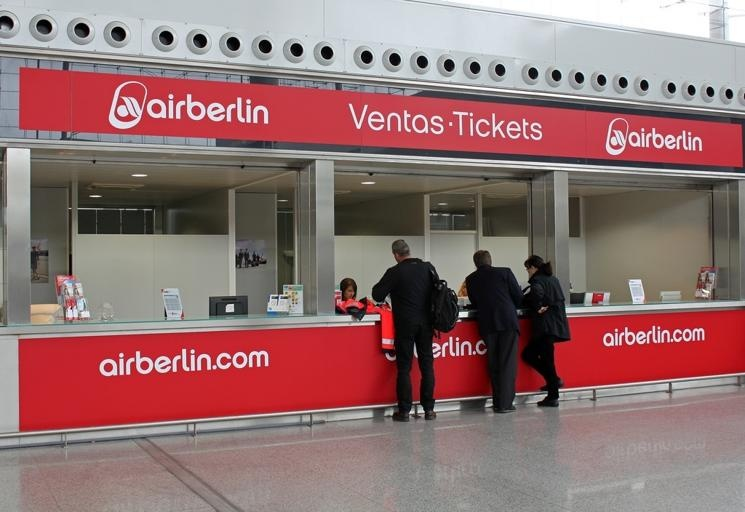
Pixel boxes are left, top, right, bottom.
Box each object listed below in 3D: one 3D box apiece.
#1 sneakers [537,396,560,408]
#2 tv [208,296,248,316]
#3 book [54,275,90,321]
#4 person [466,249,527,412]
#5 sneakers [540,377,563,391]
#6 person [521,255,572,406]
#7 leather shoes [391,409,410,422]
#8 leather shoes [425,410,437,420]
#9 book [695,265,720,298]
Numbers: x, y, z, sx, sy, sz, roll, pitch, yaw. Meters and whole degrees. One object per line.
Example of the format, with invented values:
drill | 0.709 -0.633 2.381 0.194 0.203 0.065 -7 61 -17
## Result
sneakers | 2.156 1.796 8.545 0.274 0.112 0.102 2 1 33
tv | -1.658 0.567 7.913 0.373 0.250 0.223 0 -4 -16
book | -3.241 0.444 7.460 0.348 0.526 0.182 -5 -11 -34
person | 1.477 0.898 8.349 0.644 1.658 0.438 -2 1 15
sneakers | 2.213 1.582 8.549 0.122 0.155 0.357 -2 -2 -41
person | 2.126 0.923 8.557 0.570 1.555 0.440 -2 1 24
leather shoes | 0.312 1.815 7.850 0.089 0.100 0.218 -1 5 -28
leather shoes | 0.649 1.813 7.876 0.082 0.089 0.194 -1 -8 5
book | 4.915 0.393 10.211 0.292 0.360 0.251 -2 1 26
